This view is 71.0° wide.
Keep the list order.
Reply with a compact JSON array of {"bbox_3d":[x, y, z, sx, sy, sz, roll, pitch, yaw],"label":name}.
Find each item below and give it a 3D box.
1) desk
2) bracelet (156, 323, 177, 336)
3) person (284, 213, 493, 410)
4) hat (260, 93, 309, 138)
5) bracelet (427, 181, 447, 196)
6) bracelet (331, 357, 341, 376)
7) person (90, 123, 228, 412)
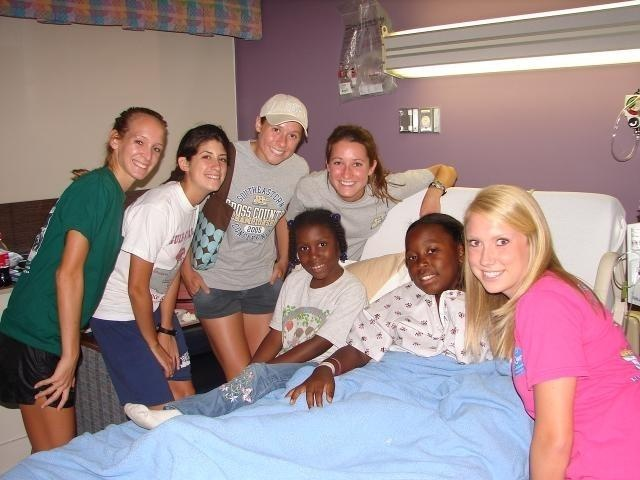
[{"bbox_3d":[-0.948,0.767,2.615,0.791,0.543,0.734,-10,-6,-19],"label":"desk"},{"bbox_3d":[-0.737,0.437,2.175,0.068,0.026,0.051,6,-12,21],"label":"bracelet"},{"bbox_3d":[0.271,0.228,1.936,0.919,0.560,0.519,-11,13,-40],"label":"person"},{"bbox_3d":[-0.205,-0.687,2.435,0.182,0.128,0.246,18,11,-24],"label":"hat"},{"bbox_3d":[0.658,-0.301,2.531,0.080,0.081,0.084,21,38,5],"label":"bracelet"},{"bbox_3d":[0.069,0.511,1.816,0.041,0.053,0.051,-1,-33,11],"label":"bracelet"},{"bbox_3d":[-0.795,0.381,2.172,0.533,1.751,0.603,15,17,42],"label":"person"}]
